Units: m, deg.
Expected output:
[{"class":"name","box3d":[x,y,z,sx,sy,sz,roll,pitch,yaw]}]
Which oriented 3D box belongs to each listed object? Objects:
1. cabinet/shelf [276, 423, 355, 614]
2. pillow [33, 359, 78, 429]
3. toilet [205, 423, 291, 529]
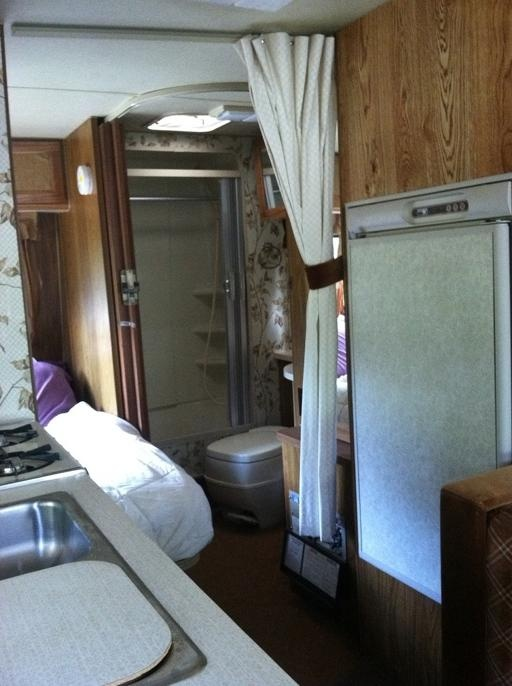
[{"class":"cabinet/shelf","box3d":[0.251,0.703,2.223,0.202,0.674,0.559,-3,3,-22]},{"class":"pillow","box3d":[-1.190,0.306,3.382,0.111,0.389,0.345,-10,-2,27]},{"class":"toilet","box3d":[0.000,0.763,3.336,0.446,0.430,0.628,3,8,38]}]
